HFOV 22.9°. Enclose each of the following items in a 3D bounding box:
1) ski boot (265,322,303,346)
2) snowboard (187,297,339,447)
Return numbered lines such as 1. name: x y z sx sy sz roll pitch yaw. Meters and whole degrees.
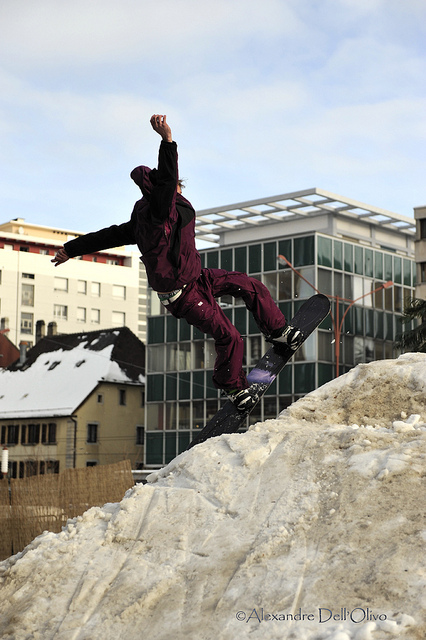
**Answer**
1. ski boot: 0.772 0.160 11.868 0.496 0.188 0.229 -2 -12 38
2. snowboard: 0.545 0.571 12.141 0.442 2.256 0.330 18 25 -50
